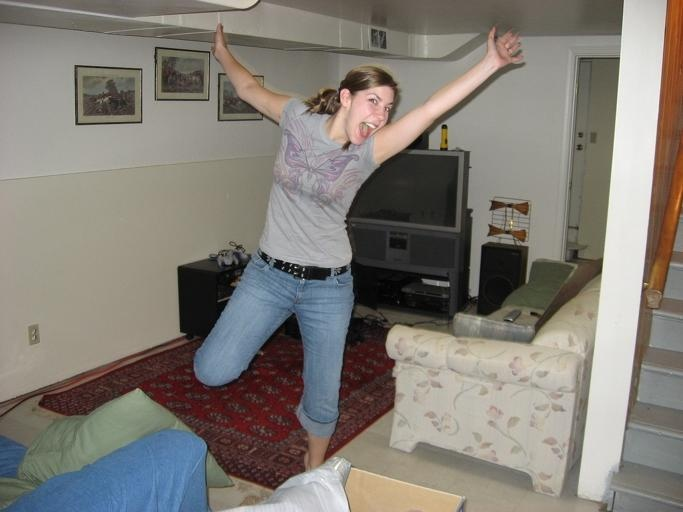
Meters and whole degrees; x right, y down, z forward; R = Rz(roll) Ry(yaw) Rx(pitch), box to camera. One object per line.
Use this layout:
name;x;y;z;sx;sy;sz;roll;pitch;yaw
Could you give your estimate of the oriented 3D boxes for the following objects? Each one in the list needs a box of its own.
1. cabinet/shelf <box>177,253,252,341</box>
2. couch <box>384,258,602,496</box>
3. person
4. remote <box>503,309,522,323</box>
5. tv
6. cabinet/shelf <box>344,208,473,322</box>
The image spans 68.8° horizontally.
cabinet/shelf;-1.133;0.315;4.581;0.586;0.754;0.802;4;16;16
couch;0.902;0.641;2.976;1.038;0.803;1.071;8;18;25
person;-0.061;0.136;2.237;1.110;1.979;0.573;2;14;3
remote;0.982;0.330;2.846;0.053;0.024;0.168;4;15;27
tv;0.681;-0.595;4.553;0.964;0.614;0.133;4;7;22
cabinet/shelf;0.658;0.059;4.881;1.086;0.929;0.357;4;13;18
